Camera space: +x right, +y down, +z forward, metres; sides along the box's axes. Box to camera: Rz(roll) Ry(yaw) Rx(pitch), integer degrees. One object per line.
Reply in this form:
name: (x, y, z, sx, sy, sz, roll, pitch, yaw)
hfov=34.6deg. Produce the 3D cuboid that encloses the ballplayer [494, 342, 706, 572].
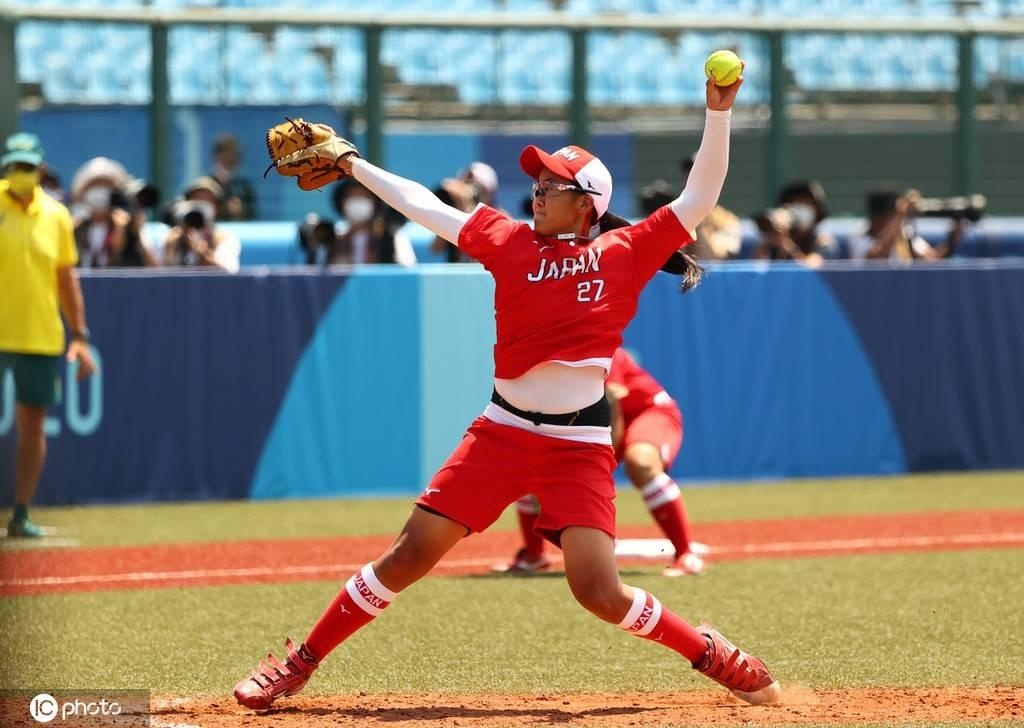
ballplayer: (0.558, 0.665, 10.845, 0.954, 1.712, 1.081, 13, -22, -43)

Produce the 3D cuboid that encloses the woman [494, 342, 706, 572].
woman: (0.558, 0.665, 10.845, 0.954, 1.712, 1.081, 13, -22, -43)

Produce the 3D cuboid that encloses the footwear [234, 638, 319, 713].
footwear: (-1.386, 1.867, 9.769, 0.377, 0.133, 0.255, -30, -13, -31)

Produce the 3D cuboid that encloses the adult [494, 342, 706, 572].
adult: (0.558, 0.665, 10.845, 0.954, 1.712, 1.081, 13, -22, -43)

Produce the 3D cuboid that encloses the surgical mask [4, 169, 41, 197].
surgical mask: (-3.664, -1.347, 12.311, 0.165, 0.192, 0.217, 0, -11, -9)

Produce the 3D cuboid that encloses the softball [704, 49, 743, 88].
softball: (1.233, -1.716, 9.562, 0.216, 0.187, 0.179, 6, 2, 3)
